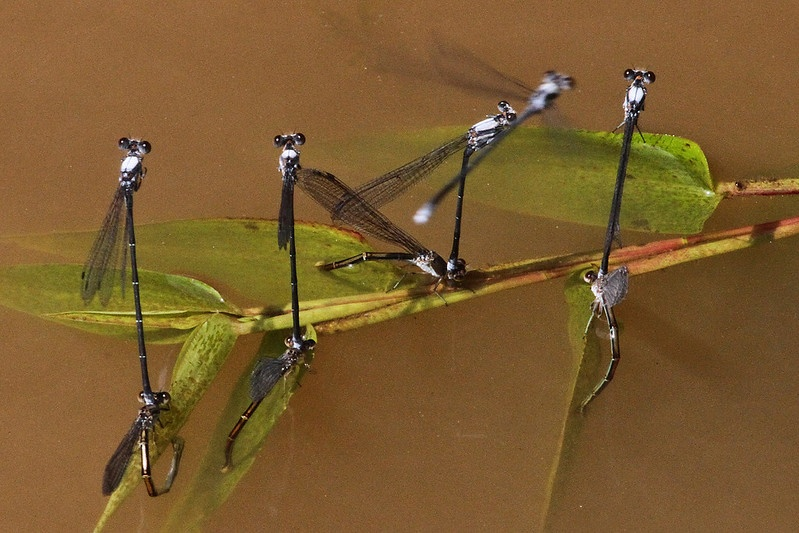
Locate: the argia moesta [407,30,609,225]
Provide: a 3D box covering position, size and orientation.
[{"bbox_3d":[0.253,-0.311,2.403,0.439,0.330,0.188,-53,-10,-1],"label":"argia moesta"}]

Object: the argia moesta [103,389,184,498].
[{"bbox_3d":[-0.607,0.415,2.408,0.138,0.280,0.157,-2,-22,36],"label":"argia moesta"}]

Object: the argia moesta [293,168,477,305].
[{"bbox_3d":[-0.032,-0.074,2.532,0.501,0.231,0.271,8,-92,-27],"label":"argia moesta"}]

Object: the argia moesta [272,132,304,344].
[{"bbox_3d":[-0.256,-0.076,2.437,0.079,0.497,0.097,0,-12,2],"label":"argia moesta"}]

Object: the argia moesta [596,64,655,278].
[{"bbox_3d":[0.557,-0.194,2.387,0.100,0.121,0.523,7,-82,6],"label":"argia moesta"}]

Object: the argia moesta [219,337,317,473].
[{"bbox_3d":[-0.329,0.315,2.350,0.298,0.246,0.116,-37,-51,22],"label":"argia moesta"}]
